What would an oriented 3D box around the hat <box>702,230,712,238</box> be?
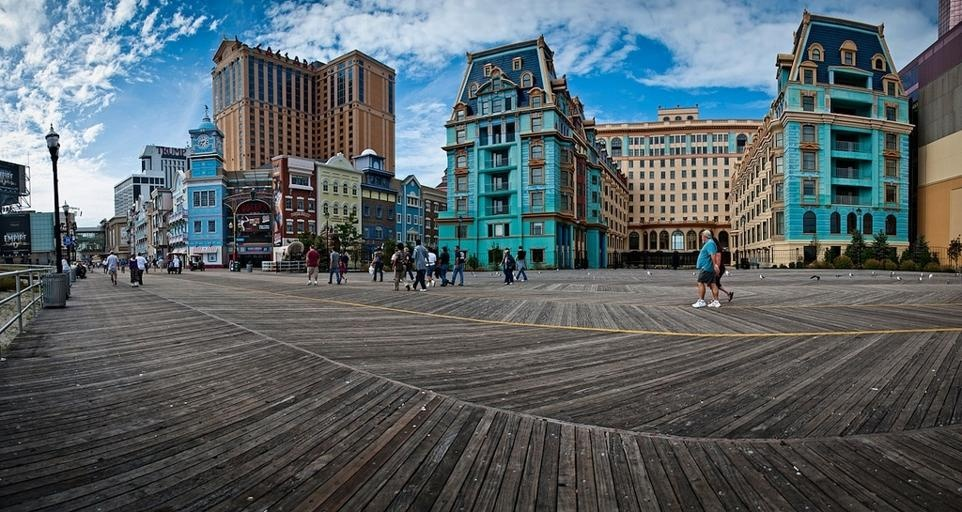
[{"bbox_3d":[12.587,-1.246,34.793,0.694,0.302,0.504,-8,10,-33],"label":"hat"}]
